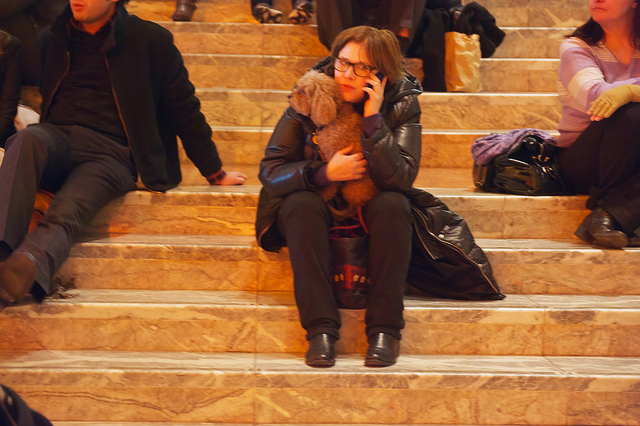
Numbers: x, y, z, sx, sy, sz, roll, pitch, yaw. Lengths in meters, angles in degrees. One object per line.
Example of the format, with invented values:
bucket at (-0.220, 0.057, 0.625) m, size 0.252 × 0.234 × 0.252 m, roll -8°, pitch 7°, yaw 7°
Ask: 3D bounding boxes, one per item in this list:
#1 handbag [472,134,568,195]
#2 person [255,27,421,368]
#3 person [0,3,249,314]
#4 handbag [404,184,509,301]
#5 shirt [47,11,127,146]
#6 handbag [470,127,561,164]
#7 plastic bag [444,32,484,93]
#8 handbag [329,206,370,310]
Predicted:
handbag at (1.261, -0.281, 4.037) m, size 0.604 × 0.239 × 0.686 m, roll 5°, pitch 4°, yaw 10°
person at (0.082, -0.113, 3.097) m, size 0.857 × 1.571 × 1.091 m, roll 5°, pitch 27°, yaw 8°
person at (-1.463, -0.549, 3.486) m, size 1.203 × 1.250 × 1.384 m, roll 19°, pitch 31°, yaw 33°
handbag at (0.758, 0.153, 3.292) m, size 0.602 × 0.601 × 0.271 m, roll 6°, pitch 15°, yaw 33°
shirt at (-1.412, -0.794, 3.572) m, size 0.457 × 0.744 × 0.377 m, roll -5°, pitch 28°, yaw -11°
handbag at (1.311, -0.480, 3.961) m, size 0.517 × 0.140 × 0.363 m, roll -16°, pitch 17°, yaw -23°
plastic bag at (1.174, -1.217, 4.869) m, size 0.368 × 0.454 × 0.341 m, roll 5°, pitch 27°, yaw 8°
handbag at (0.150, 0.229, 3.118) m, size 0.205 × 0.514 × 0.239 m, roll 1°, pitch 28°, yaw 0°
